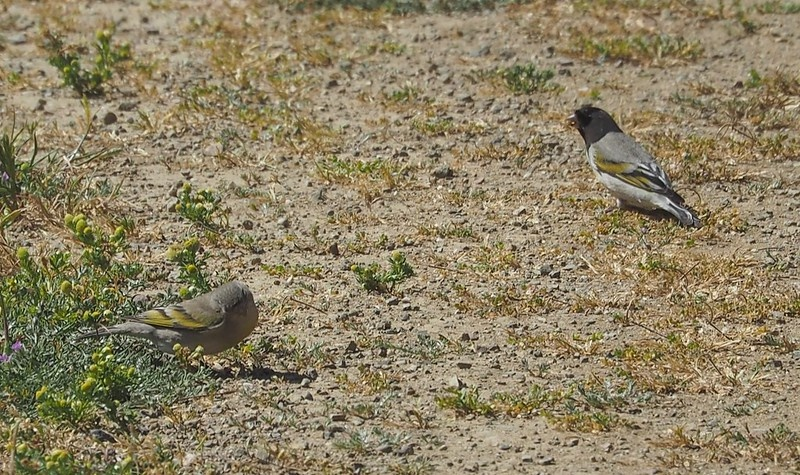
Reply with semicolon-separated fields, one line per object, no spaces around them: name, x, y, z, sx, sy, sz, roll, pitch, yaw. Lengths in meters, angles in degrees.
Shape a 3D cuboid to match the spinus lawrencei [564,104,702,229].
spinus lawrencei;3.276;-0.937;12.354;2.041;1.412;1.326;10;25;23
